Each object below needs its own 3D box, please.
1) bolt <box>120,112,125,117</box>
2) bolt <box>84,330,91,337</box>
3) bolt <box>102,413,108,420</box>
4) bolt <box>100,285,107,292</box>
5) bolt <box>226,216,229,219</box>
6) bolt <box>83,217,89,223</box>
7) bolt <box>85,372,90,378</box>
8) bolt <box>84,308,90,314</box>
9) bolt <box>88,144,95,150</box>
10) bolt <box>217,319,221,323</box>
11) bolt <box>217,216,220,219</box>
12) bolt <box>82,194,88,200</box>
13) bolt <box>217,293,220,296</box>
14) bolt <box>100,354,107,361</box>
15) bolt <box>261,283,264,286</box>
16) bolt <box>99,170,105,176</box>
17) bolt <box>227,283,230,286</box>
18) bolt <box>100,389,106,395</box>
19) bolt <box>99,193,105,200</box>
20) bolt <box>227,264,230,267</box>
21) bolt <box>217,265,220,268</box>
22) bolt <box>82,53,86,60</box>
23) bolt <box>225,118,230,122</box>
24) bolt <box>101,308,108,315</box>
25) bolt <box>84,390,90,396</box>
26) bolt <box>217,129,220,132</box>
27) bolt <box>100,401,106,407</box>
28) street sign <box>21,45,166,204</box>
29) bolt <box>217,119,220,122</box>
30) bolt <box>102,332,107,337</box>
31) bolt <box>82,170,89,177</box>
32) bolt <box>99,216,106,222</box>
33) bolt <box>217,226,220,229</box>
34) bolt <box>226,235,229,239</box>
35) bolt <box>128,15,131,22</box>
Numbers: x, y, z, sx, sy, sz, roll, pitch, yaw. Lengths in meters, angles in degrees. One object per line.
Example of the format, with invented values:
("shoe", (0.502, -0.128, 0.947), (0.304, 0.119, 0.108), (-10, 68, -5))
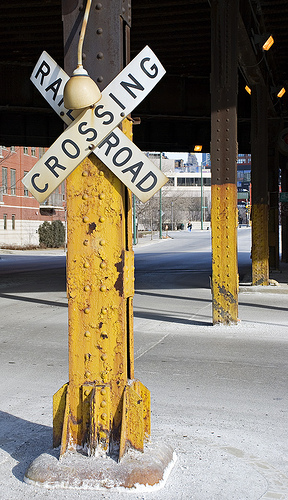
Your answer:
("bolt", (-0.122, -0.786, 4.009), (0.021, 0.027, 0.006), (-1, -4, -6))
("bolt", (-0.336, 0.512, 4.178), (0.025, 0.031, 0.016), (-3, -32, -8))
("bolt", (-0.237, 1.001, 4.150), (0.028, 0.033, 0.016), (-23, 1, 32))
("bolt", (-0.248, 0.239, 4.157), (0.027, 0.035, 0.019), (-11, -21, 1))
("bolt", (1.184, -0.453, 9.745), (0.035, 0.034, 0.012), (1, 1, 0))
("bolt", (-0.352, -0.183, 4.180), (0.028, 0.024, 0.024), (-37, -16, -45))
("bolt", (-0.344, 0.760, 4.193), (0.033, 0.035, 0.009), (1, 1, 28))
("bolt", (-0.345, 0.372, 4.177), (0.023, 0.029, 0.015), (-7, -30, 5))
("bolt", (-0.307, -0.600, 4.037), (0.023, 0.031, 0.025), (3, 4, 8))
("bolt", (1.070, 1.005, 9.734), (0.029, 0.067, 0.031), (-5, -6, 43))
("bolt", (1.058, -0.457, 9.768), (0.032, 0.040, 0.009), (-3, -2, 7))
("bolt", (-0.356, -0.321, 4.179), (0.025, 0.034, 0.024), (-25, 28, -39))
("bolt", (1.051, 0.635, 9.729), (0.035, 0.035, 0.007), (0, 1, -10))
("bolt", (-0.241, 0.649, 4.159), (0.024, 0.031, 0.015), (-2, -12, 3))
("bolt", (2.630, 0.763, 15.231), (0.039, 0.048, 0.011), (-2, -7, 10))
("bolt", (-0.256, -0.460, 4.149), (0.027, 0.028, 0.007), (41, 18, 4))
("bolt", (1.191, 0.489, 9.691), (0.034, 0.035, 0.007), (1, 1, 5))
("bolt", (-0.245, 0.856, 4.147), (0.026, 0.031, 0.012), (0, 1, -6))
("bolt", (-0.251, -0.322, 4.156), (0.027, 0.035, 0.017), (2, -3, -3))
("bolt", (1.195, 0.224, 9.722), (0.026, 0.031, 0.007), (0, 7, 9))
("bolt", (1.062, 0.229, 9.760), (0.031, 0.036, 0.008), (2, -3, 38))
("bolt", (-0.367, -1.176, 4.195), (0.023, 0.029, 0.006), (8, 6, 22))
("bolt", (1.212, -1.873, 9.955), (0.044, 0.030, 0.067), (2, -2, -12))
("bolt", (-0.239, 0.371, 4.157), (0.029, 0.036, 0.018), (-17, 4, -3))
("bolt", (-0.346, 0.869, 4.193), (0.026, 0.035, 0.010), (-1, -5, 6))
("bolt", (1.077, -1.719, 9.969), (0.036, 0.036, 0.015), (0, 1, -6))
("bolt", (-0.245, 0.931, 4.153), (0.019, 0.013, 0.023), (-6, 35, -3))
("street sign", (-0.172, -0.679, 4.225), (0.313, 0.157, 1.245), (-25, -28, -45))
("bolt", (1.085, -1.876, 9.994), (0.029, 0.037, 0.034), (2, 3, 19))
("bolt", (-0.240, 0.510, 4.156), (0.019, 0.024, 0.022), (-1, 5, 9))
("bolt", (-0.353, -0.462, 4.175), (0.029, 0.035, 0.017), (24, -6, 4))
("bolt", (-0.253, -0.185, 4.164), (0.035, 0.033, 0.011), (0, 1, -7))
("bolt", (1.062, -0.320, 9.775), (0.025, 0.030, 0.007), (-3, -8, 5))
("bolt", (1.185, -0.174, 9.727), (0.026, 0.048, 0.010), (-1, -9, 6))
("bolt", (-0.095, -1.450, 4.327), (0.005, 0.043, 0.023), (1, 1, 27))
